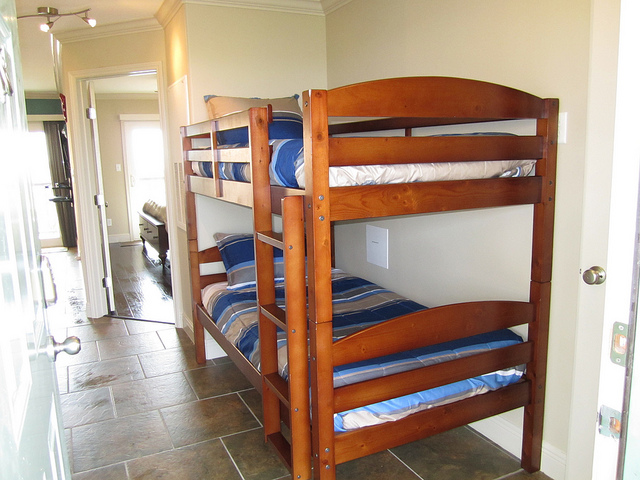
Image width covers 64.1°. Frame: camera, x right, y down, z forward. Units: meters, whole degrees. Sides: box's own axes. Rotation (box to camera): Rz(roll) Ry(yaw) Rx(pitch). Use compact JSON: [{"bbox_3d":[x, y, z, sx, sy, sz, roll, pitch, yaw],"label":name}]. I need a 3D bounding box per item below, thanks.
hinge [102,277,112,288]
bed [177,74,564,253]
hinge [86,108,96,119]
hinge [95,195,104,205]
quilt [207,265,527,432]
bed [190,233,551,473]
[{"bbox_3d":[-2.109,0.416,5.075,0.071,0.074,0.131,10,-11,12],"label":"hinge"},{"bbox_3d":[0.100,-0.151,3.197,1.486,1.324,2.092,-6,11,-26],"label":"bed"},{"bbox_3d":[-2.139,-1.187,4.798,0.081,0.091,0.022,-7,9,-44],"label":"hinge"},{"bbox_3d":[-2.121,-0.388,4.937,0.080,0.087,0.080,1,1,-23],"label":"hinge"},{"bbox_3d":[0.167,0.549,2.949,0.832,0.334,1.361,-10,20,-29],"label":"quilt"},{"bbox_3d":[0.111,0.221,3.031,1.173,1.146,1.748,-5,9,-25],"label":"bed"}]
